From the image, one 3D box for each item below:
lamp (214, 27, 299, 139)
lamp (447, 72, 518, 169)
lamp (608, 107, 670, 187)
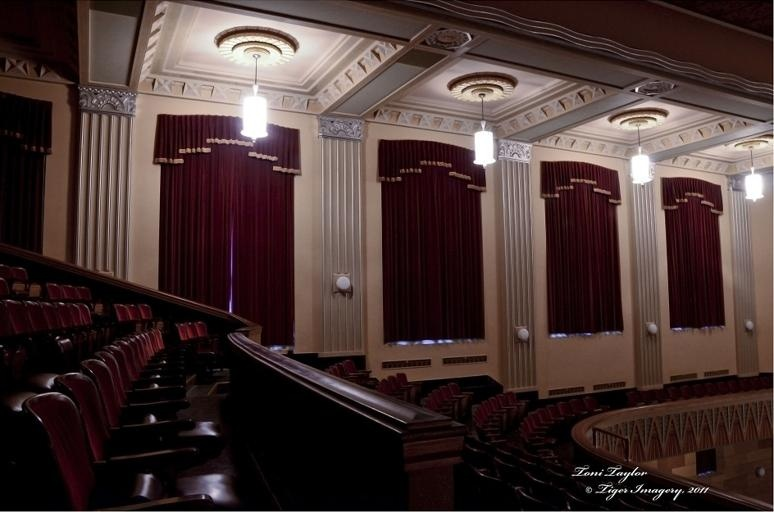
[{"bbox_3d":[-1.491,-1.845,6.093,1.017,0.983,0.994,-2,5,-36],"label":"lamp"},{"bbox_3d":[1.250,-1.706,7.102,1.000,1.009,0.953,-6,10,-16],"label":"lamp"},{"bbox_3d":[3.918,-1.746,8.569,0.916,0.969,0.868,6,-17,-13],"label":"lamp"}]
